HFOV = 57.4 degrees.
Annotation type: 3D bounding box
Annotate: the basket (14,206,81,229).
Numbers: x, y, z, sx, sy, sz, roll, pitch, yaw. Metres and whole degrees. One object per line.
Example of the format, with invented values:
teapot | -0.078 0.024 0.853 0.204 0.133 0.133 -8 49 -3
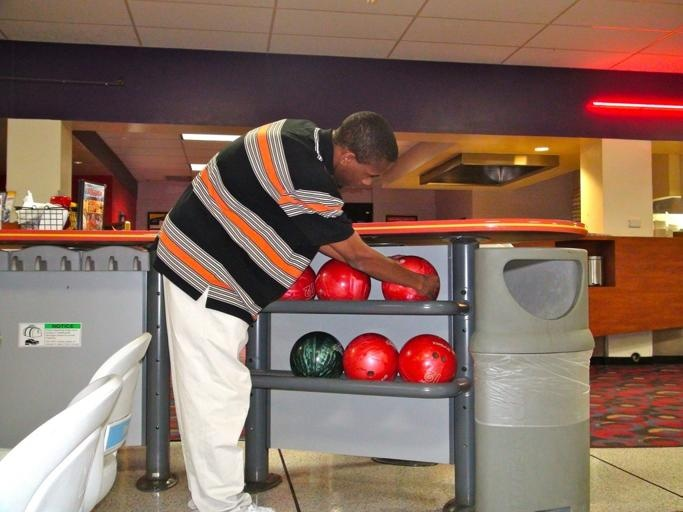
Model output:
basket | -1.851 -0.236 3.874 0.249 0.114 0.174 0 -1 -27
